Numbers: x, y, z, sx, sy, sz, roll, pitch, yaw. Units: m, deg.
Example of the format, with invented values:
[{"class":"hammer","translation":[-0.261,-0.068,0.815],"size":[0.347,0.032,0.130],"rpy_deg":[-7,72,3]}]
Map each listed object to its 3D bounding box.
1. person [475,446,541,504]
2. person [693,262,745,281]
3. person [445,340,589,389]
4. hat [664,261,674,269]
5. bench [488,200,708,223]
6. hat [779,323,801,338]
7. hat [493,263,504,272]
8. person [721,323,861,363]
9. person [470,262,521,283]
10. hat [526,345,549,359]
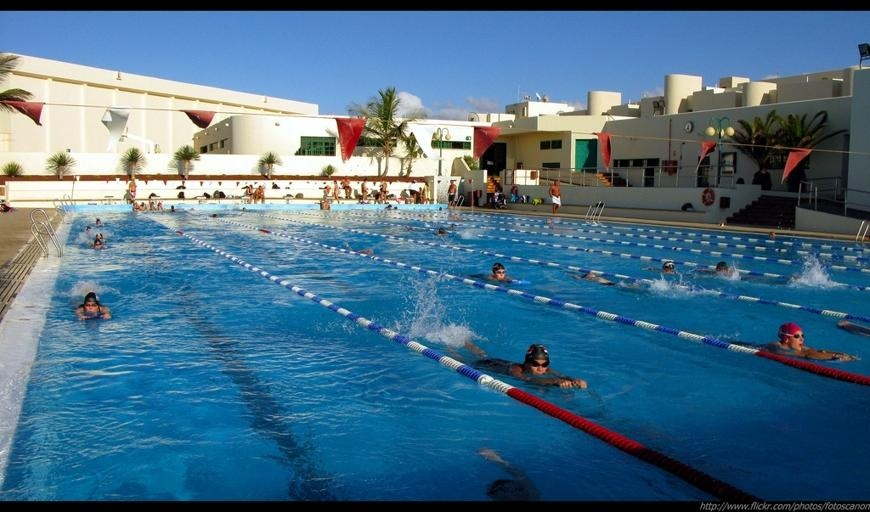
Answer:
[{"class":"person","translation":[0.603,1.866,4.367],"size":[0.488,0.753,0.149],"rpy_deg":[-14,28,18]},{"class":"person","translation":[6.148,0.348,11.539],"size":[0.567,0.235,0.722],"rpy_deg":[1,6,12]},{"class":"person","translation":[1.069,1.171,6.481],"size":[0.503,0.307,1.331],"rpy_deg":[-7,17,-28]},{"class":"hat","translation":[5.011,0.196,11.463],"size":[0.226,0.111,0.290],"rpy_deg":[-1,3,20]},{"class":"bench","translation":[7.841,-2.067,24.697],"size":[0.946,0.329,9.380],"rpy_deg":[-4,8,-42]},{"class":"hat","translation":[4.692,1.017,7.069],"size":[0.239,0.172,0.189],"rpy_deg":[-32,29,-33]},{"class":"hat","translation":[1.314,0.229,10.913],"size":[0.173,0.169,0.199],"rpy_deg":[-10,3,-19]},{"class":"person","translation":[4.663,1.111,7.105],"size":[0.460,0.395,1.596],"rpy_deg":[3,-3,-23]},{"class":"person","translation":[1.236,0.311,11.016],"size":[0.566,0.384,1.013],"rpy_deg":[-12,18,-44]},{"class":"hat","translation":[1.206,1.137,6.270],"size":[0.195,0.190,0.238],"rpy_deg":[3,-15,-7]}]
